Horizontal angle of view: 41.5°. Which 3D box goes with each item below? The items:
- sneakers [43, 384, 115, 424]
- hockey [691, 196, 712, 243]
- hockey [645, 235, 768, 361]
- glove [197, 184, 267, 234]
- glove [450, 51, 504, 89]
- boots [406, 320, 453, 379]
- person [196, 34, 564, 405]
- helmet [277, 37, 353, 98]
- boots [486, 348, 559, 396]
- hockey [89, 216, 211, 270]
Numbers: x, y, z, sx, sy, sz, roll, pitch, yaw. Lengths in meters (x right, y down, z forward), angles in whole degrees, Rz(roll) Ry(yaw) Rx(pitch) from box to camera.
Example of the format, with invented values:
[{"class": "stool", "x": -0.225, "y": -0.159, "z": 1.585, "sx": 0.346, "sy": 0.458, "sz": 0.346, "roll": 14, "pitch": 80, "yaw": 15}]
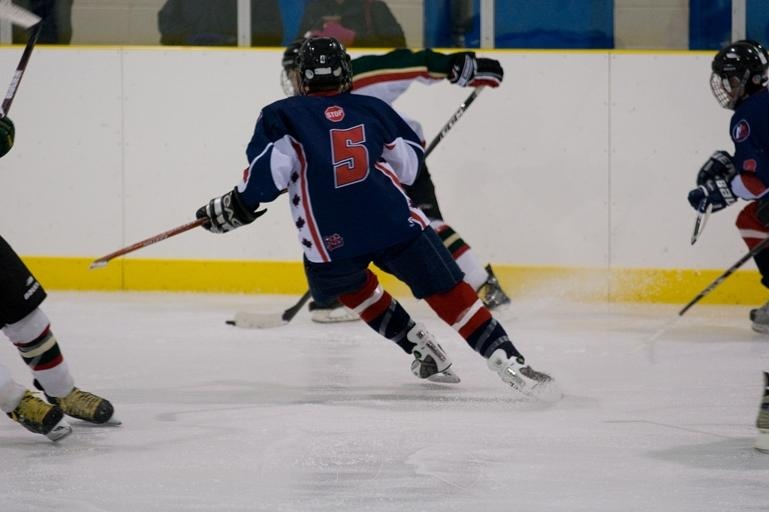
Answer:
[{"class": "sneakers", "x": -1.283, "y": 0.619, "z": 4.248, "sx": 0.324, "sy": 0.127, "sz": 0.114, "roll": 15, "pitch": 29, "yaw": 20}, {"class": "hockey", "x": 1.798, "y": -0.208, "z": 5.728, "sx": 0.079, "sy": 0.251, "sz": 0.071, "roll": 37, "pitch": -26, "yaw": -21}, {"class": "hockey", "x": 1.908, "y": 0.248, "z": 5.916, "sx": 0.068, "sy": 0.971, "sz": 0.149, "roll": 27, "pitch": 40, "yaw": -27}, {"class": "glove", "x": -0.648, "y": -0.226, "z": 4.432, "sx": 0.306, "sy": 0.182, "sz": 0.115, "roll": -24, "pitch": 38, "yaw": 13}, {"class": "glove", "x": 0.428, "y": -0.928, "z": 5.037, "sx": 0.284, "sy": 0.153, "sz": 0.117, "roll": 2, "pitch": 5, "yaw": -37}, {"class": "boots", "x": 0.190, "y": 0.430, "z": 4.587, "sx": 0.183, "sy": 0.260, "sz": 0.120, "roll": -20, "pitch": 18, "yaw": -8}, {"class": "person", "x": 0.086, "y": -0.153, "z": 5.351, "sx": 1.491, "sy": 2.003, "sz": 0.884, "roll": -22, "pitch": 8, "yaw": 16}, {"class": "helmet", "x": -0.269, "y": -0.829, "z": 4.580, "sx": 0.384, "sy": 0.345, "sz": 0.472, "roll": -3, "pitch": 5, "yaw": -6}, {"class": "boots", "x": 0.609, "y": 0.499, "z": 4.344, "sx": 0.133, "sy": 0.140, "sz": 0.340, "roll": -8, "pitch": 6, "yaw": -32}, {"class": "hockey", "x": -1.471, "y": -0.083, "z": 6.473, "sx": 0.782, "sy": 0.102, "sz": 0.088, "roll": -19, "pitch": -24, "yaw": 5}]
